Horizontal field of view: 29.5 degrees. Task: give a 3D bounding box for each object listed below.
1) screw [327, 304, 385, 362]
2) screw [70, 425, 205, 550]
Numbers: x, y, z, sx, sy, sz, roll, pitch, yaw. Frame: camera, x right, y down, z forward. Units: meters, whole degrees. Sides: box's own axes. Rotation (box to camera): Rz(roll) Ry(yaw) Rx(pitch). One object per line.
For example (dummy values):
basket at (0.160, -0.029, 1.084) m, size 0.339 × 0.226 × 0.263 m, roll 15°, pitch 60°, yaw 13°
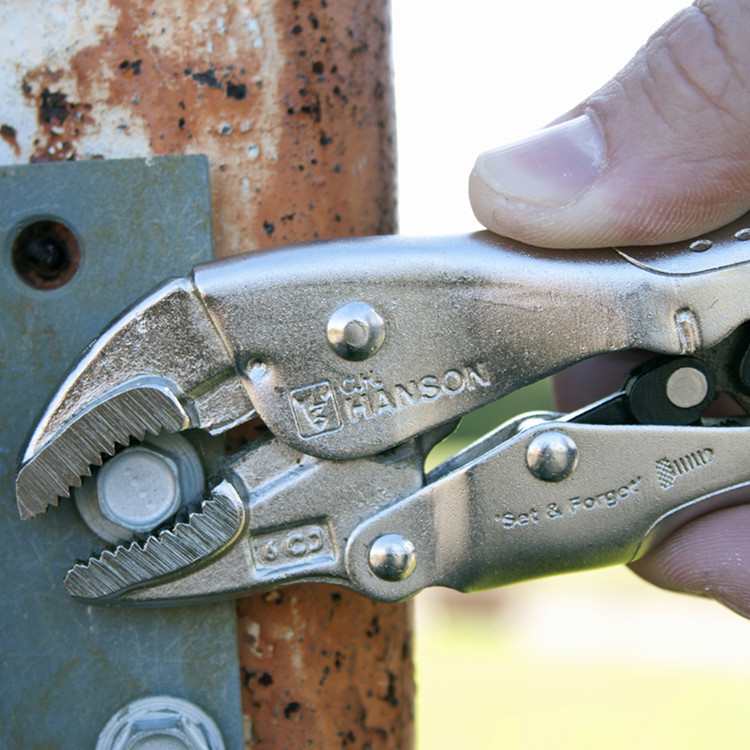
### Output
screw at (-0.015, -0.032, 1.020) m, size 0.040 × 0.010 × 0.041 m, roll -43°, pitch 104°, yaw 2°
screw at (-0.170, 0.083, 1.038) m, size 0.094 × 0.036 × 0.058 m, roll -28°, pitch 71°, yaw -14°
